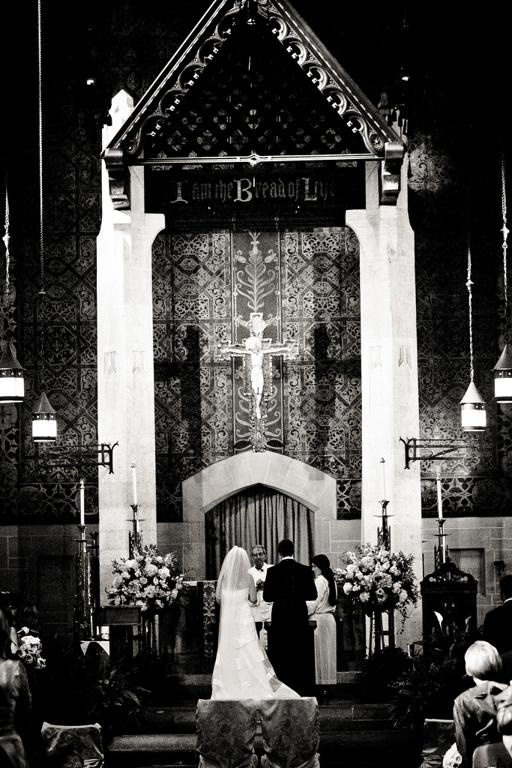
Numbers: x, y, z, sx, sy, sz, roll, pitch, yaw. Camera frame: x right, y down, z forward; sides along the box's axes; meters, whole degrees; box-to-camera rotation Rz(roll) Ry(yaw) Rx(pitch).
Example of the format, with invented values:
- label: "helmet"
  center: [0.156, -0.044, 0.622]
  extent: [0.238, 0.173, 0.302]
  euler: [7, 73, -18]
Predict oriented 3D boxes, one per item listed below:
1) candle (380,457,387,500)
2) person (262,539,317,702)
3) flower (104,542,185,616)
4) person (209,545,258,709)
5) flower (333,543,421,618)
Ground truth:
- label: "candle"
  center: [1.369, 1.034, 19.197]
  extent: [0.065, 0.440, 0.097]
  euler: [-1, -3, 3]
- label: "person"
  center: [0.340, 2.092, 16.424]
  extent: [0.426, 1.626, 0.366]
  euler: [3, 30, 10]
- label: "flower"
  center: [-1.098, 1.957, 17.868]
  extent: [0.580, 0.602, 0.628]
  euler: [1, -6, -6]
- label: "person"
  center: [-0.189, 2.117, 15.871]
  extent: [0.398, 1.280, 0.760]
  euler: [-1, -4, -1]
- label: "flower"
  center: [1.214, 2.002, 17.836]
  extent: [0.648, 0.766, 0.709]
  euler: [0, -12, 0]
